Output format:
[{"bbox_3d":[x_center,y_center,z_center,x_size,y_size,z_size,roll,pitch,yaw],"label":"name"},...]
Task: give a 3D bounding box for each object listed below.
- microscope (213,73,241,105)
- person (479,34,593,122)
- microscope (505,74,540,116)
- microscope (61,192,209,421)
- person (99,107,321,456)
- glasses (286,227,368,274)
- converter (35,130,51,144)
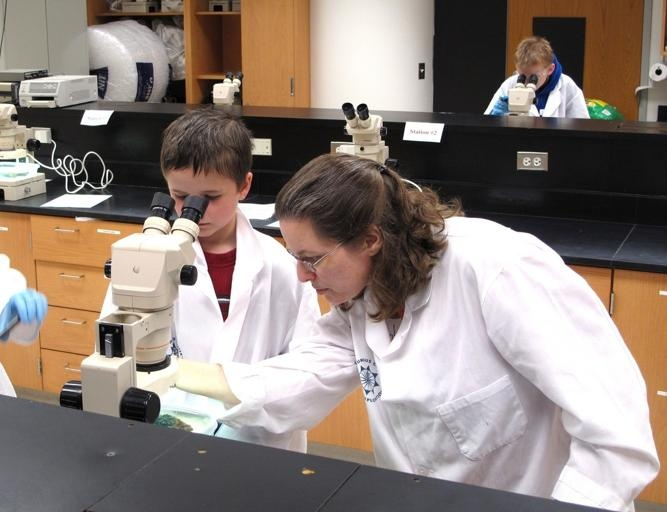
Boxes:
[{"bbox_3d":[-0.701,-1.109,3.766,0.132,0.250,0.176,8,4,22],"label":"microscope"},{"bbox_3d":[1.560,-1.375,4.342,0.797,0.593,0.499,-8,14,-40],"label":"person"},{"bbox_3d":[1.235,-1.038,3.636,0.161,0.300,0.159,5,4,-28],"label":"microscope"},{"bbox_3d":[-0.317,0.083,0.949,0.152,0.369,0.186,5,1,22],"label":"microscope"},{"bbox_3d":[-0.278,-0.006,1.592,0.464,1.154,0.574,5,22,4],"label":"person"},{"bbox_3d":[-0.003,-0.014,1.108,0.195,0.121,0.051,-1,10,-10],"label":"glasses"},{"bbox_3d":[-1.794,-0.742,3.461,0.120,0.094,0.070,2,9,1],"label":"converter"}]
